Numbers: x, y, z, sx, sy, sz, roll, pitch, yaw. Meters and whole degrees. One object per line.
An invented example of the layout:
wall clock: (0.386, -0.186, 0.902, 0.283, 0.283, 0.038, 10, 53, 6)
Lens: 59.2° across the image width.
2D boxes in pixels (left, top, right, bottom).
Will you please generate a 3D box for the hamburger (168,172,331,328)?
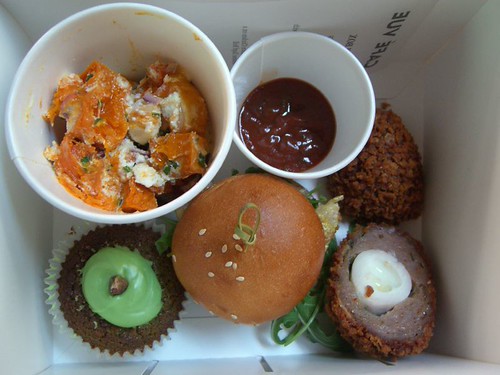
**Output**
hamburger: (-0.009, 0.204, 1.555, 0.438, 0.453, 0.501, 8, 92, -2)

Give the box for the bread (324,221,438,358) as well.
bread: (0.502, 0.390, 1.682, 0.430, 0.130, 0.491, 18, 80, 0)

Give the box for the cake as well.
cake: (-0.477, 0.365, 1.630, 0.449, 0.089, 0.445, 0, 81, -4)

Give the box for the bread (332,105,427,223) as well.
bread: (0.507, -0.060, 1.639, 0.302, 0.142, 0.462, -2, 94, -5)
